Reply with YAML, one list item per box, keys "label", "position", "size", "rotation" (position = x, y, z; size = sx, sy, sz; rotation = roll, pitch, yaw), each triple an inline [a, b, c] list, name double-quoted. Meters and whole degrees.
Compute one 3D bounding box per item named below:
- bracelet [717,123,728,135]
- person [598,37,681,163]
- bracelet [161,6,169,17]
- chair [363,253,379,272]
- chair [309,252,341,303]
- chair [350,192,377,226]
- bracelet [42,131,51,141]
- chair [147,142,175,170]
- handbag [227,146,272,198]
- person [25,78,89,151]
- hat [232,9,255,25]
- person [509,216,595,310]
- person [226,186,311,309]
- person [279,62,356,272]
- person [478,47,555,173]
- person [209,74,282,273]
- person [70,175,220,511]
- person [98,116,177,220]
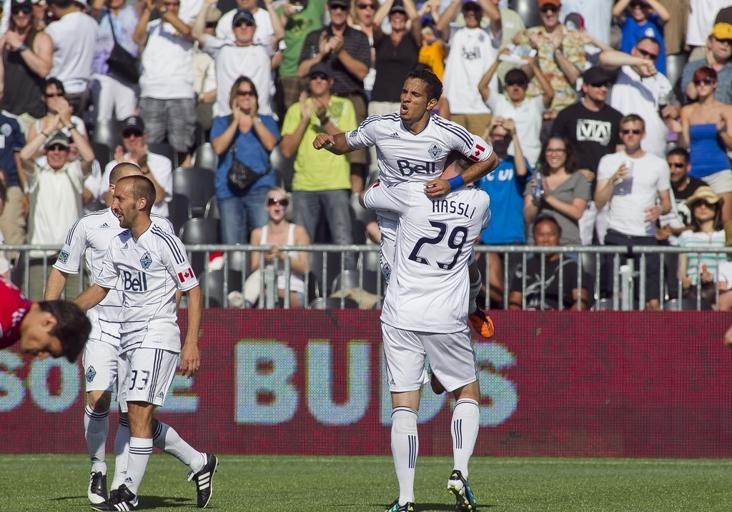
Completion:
- label: "bracelet"
  position: [4.793, -1.729, 26.129]
  size: [0.083, 0.112, 0.036]
  rotation: [-43, -16, -1]
- label: "person"
  position: [3.759, -2.078, 26.735]
  size: [0.809, 1.685, 0.579]
  rotation: [4, -28, -1]
- label: "bracelet"
  position: [-2.847, -3.446, 27.316]
  size: [0.097, 0.129, 0.113]
  rotation: [2, 2, 6]
- label: "chair"
  position: [0.065, 0.052, 25.438]
  size: [0.220, 0.212, 0.227]
  rotation: [-2, -7, 9]
- label: "chair"
  position: [-0.557, 0.192, 24.518]
  size: [0.430, 0.520, 0.592]
  rotation: [0, -10, 1]
- label: "chair"
  position: [-0.054, -0.702, 26.608]
  size: [0.443, 0.309, 0.419]
  rotation: [5, 26, -14]
- label: "bracelet"
  position: [-4.396, -1.664, 26.534]
  size: [0.124, 0.134, 0.032]
  rotation: [-28, -7, 3]
- label: "chair"
  position: [-2.875, -1.434, 27.207]
  size: [0.342, 0.375, 0.448]
  rotation: [-2, -24, -8]
- label: "handbag"
  position: [-1.654, -1.144, 26.172]
  size: [0.482, 0.480, 0.268]
  rotation: [31, -4, -8]
- label: "person"
  position: [-4.451, -2.144, 27.249]
  size: [0.543, 1.169, 1.439]
  rotation: [-23, 9, 3]
- label: "hat"
  position: [-1.719, -3.317, 27.010]
  size: [0.270, 0.158, 0.428]
  rotation: [-2, 3, -2]
- label: "person"
  position: [2.256, 0.049, 24.390]
  size: [0.878, 1.205, 1.070]
  rotation: [2, -4, -24]
- label: "person"
  position: [-1.232, -0.149, 24.694]
  size: [0.996, 1.566, 1.511]
  rotation: [0, -3, -2]
- label: "person"
  position: [-0.638, -1.160, 26.495]
  size: [1.082, 3.041, 0.929]
  rotation: [6, 29, 7]
- label: "person"
  position: [2.074, -1.567, 26.753]
  size: [0.992, 2.617, 0.721]
  rotation: [-3, -24, 9]
- label: "person"
  position: [-1.662, -1.089, 26.505]
  size: [0.917, 2.890, 0.783]
  rotation: [-3, 22, -5]
- label: "person"
  position: [-2.408, 0.935, 21.590]
  size: [1.327, 3.675, 0.573]
  rotation: [1, -3, -10]
- label: "person"
  position: [-3.170, -1.031, 26.387]
  size: [0.888, 1.559, 0.739]
  rotation: [6, -22, -42]
